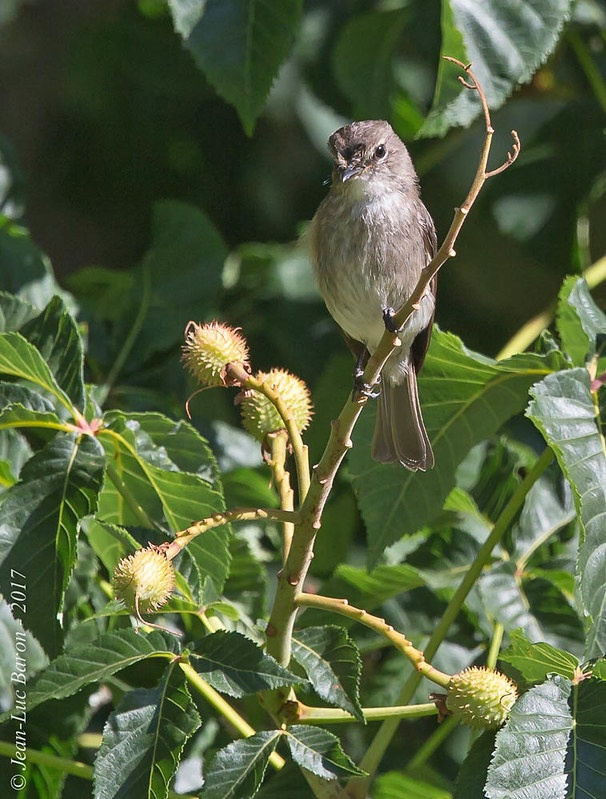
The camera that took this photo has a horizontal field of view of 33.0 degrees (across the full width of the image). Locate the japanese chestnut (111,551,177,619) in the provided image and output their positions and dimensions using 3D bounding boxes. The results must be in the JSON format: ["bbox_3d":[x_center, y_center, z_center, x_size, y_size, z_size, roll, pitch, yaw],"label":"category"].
[{"bbox_3d":[-0.272,0.324,1.831,0.102,0.125,0.117,5,35,4],"label":"japanese chestnut"}]

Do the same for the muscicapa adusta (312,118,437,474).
[{"bbox_3d":[0.196,-0.325,2.907,0.375,0.804,1.004,0,26,7],"label":"muscicapa adusta"}]

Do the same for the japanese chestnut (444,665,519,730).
[{"bbox_3d":[0.332,0.549,1.880,0.148,0.113,0.066,-8,27,-11],"label":"japanese chestnut"}]

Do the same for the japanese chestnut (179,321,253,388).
[{"bbox_3d":[-0.169,-0.100,1.970,0.144,0.131,0.132,0,29,-5],"label":"japanese chestnut"}]

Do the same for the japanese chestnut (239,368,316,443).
[{"bbox_3d":[-0.037,0.018,2.110,0.147,0.126,0.130,16,-14,-31],"label":"japanese chestnut"}]
